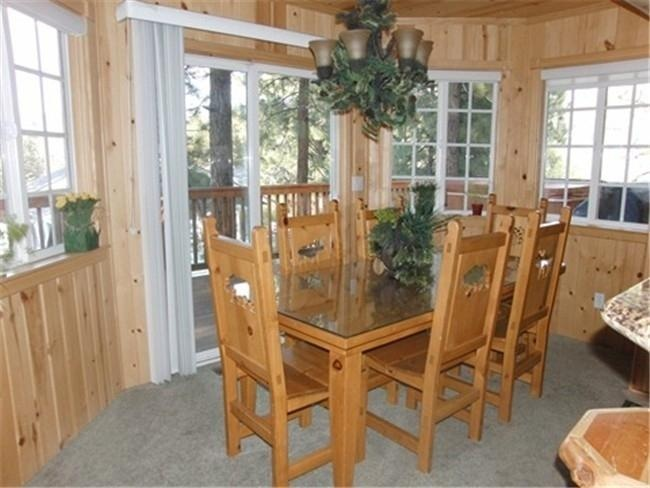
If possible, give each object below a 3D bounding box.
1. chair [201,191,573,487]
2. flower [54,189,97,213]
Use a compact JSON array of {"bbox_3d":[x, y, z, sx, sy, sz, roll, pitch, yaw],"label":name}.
[{"bbox_3d":[0.380,0.410,2.955,1.103,1.407,1.798,16,23,42],"label":"chair"},{"bbox_3d":[-1.544,-0.271,3.116,0.232,0.109,0.214,-9,13,-25],"label":"flower"}]
